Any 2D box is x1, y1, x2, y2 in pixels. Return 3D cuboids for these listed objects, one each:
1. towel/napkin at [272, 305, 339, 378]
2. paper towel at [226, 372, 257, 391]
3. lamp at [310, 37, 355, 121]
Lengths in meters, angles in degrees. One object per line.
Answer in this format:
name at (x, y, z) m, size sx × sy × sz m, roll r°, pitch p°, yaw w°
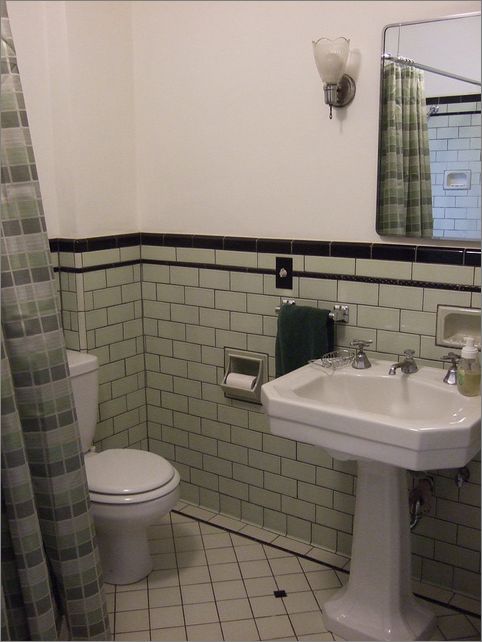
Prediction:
towel/napkin at (0.238, 0.073, 1.941) m, size 0.254 × 0.343 × 0.071 m, roll 4°, pitch 7°, yaw 36°
paper towel at (0.000, 0.258, 2.265) m, size 0.134 × 0.062 × 0.055 m, roll 5°, pitch 12°, yaw 37°
lamp at (0.306, -0.803, 1.770) m, size 0.124 × 0.243 × 0.208 m, roll 0°, pitch 10°, yaw 12°
